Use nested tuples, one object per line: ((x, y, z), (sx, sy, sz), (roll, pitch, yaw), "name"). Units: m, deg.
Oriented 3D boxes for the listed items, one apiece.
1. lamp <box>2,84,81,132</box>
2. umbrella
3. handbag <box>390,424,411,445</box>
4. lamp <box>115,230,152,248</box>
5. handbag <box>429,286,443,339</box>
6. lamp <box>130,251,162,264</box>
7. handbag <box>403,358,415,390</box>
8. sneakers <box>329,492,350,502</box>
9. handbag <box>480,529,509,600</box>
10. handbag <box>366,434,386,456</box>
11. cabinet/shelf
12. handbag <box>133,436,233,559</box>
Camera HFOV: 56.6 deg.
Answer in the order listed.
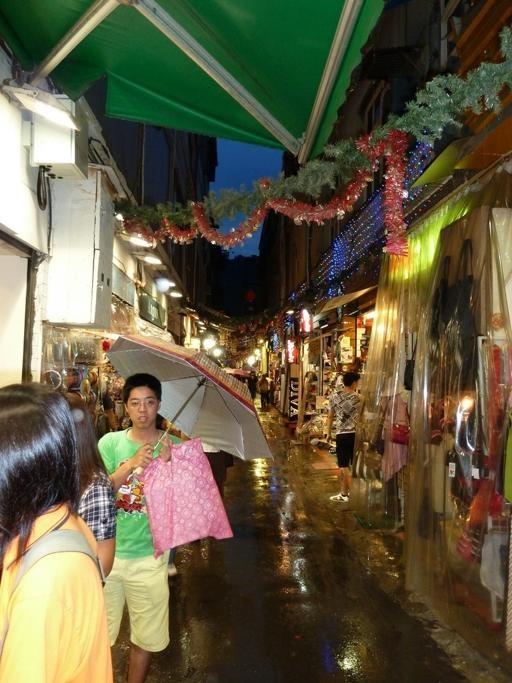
((-1.622, -1.780, 3.611), (0.463, 0.197, 0.474), (-1, -5, -9), "lamp")
((-0.520, 0.287, 3.658), (1.066, 0.389, 1.077), (15, 1, 17), "umbrella")
((1.541, 1.002, 5.184), (0.067, 0.191, 0.208), (3, -7, -41), "handbag")
((-1.856, -1.570, 7.197), (0.489, 0.125, 0.512), (22, 3, 11), "lamp")
((1.467, -0.255, 3.903), (0.124, 0.487, 0.100), (-5, 18, 21), "handbag")
((-2.202, -1.662, 9.569), (0.535, 0.179, 0.837), (0, -5, -12), "lamp")
((1.655, 0.372, 5.214), (0.083, 0.343, 0.164), (0, -5, -15), "handbag")
((1.278, 2.423, 7.350), (0.295, 0.136, 0.116), (2, -8, 21), "sneakers")
((1.489, 1.403, 3.007), (0.170, 0.386, 0.125), (-5, -6, 35), "handbag")
((1.440, 1.245, 5.725), (0.179, 0.187, 0.328), (3, 1, 25), "handbag")
((2.146, 0.958, 13.829), (0.916, 2.524, 2.737), (12, 19, 7), "cabinet/shelf")
((-0.398, 0.853, 2.638), (0.538, 0.649, 0.179), (5, -40, -13), "handbag")
